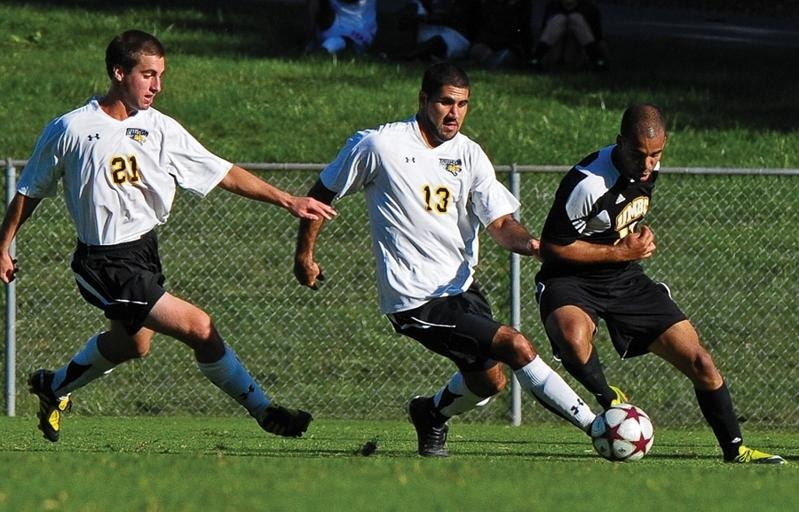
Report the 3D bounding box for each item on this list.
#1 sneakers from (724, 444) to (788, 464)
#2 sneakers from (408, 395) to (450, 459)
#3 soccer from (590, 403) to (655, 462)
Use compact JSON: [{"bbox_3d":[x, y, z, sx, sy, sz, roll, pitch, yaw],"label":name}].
[{"bbox_3d":[3.291,1.820,10.270,0.594,0.233,0.194,-2,-4,11],"label":"sneakers"},{"bbox_3d":[0.252,1.593,10.413,0.296,0.660,0.240,-11,2,41],"label":"sneakers"},{"bbox_3d":[1.980,1.494,9.846,0.529,0.482,0.491,3,5,18],"label":"soccer"}]
